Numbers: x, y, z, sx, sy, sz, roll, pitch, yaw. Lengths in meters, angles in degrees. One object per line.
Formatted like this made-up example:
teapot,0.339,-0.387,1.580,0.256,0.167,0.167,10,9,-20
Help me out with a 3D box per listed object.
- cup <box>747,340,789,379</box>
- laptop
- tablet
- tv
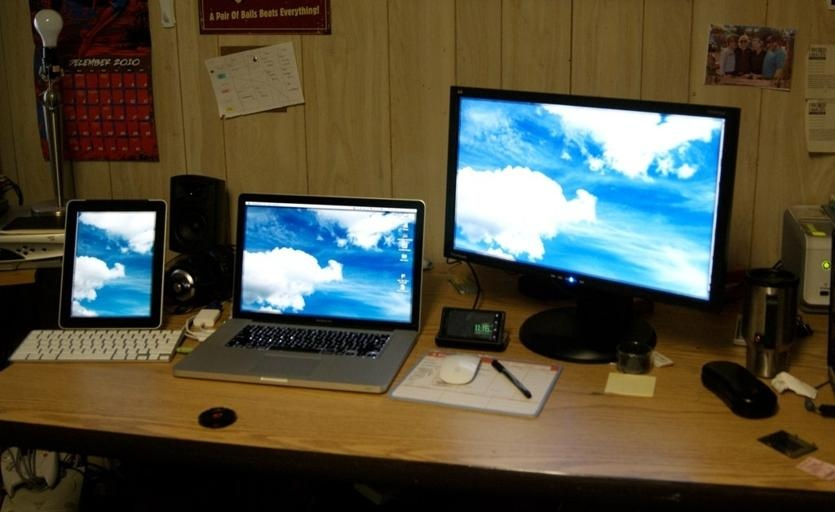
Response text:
cup,0.897,0.270,1.798,0.118,0.091,0.090,1,4,-7
laptop,-0.309,0.085,1.825,0.616,0.343,0.510,5,21,18
tablet,-0.901,0.027,1.991,0.423,0.449,0.034,1,-4,1
tv,0.469,-0.097,1.886,0.865,0.678,0.404,14,25,43
